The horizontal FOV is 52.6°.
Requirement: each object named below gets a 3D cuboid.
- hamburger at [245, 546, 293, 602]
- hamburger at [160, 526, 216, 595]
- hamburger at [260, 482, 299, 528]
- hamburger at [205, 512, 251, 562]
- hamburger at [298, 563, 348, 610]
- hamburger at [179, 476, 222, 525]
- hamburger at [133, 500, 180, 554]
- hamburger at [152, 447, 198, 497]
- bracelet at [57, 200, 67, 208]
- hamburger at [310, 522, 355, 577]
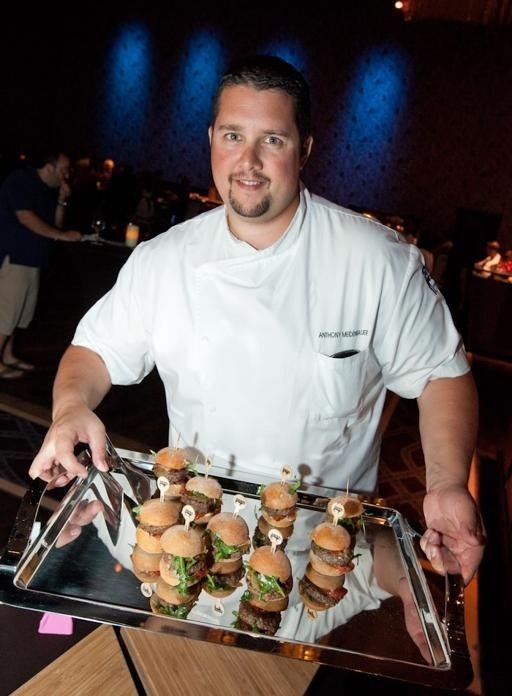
[{"bbox_3d":[0.026,0.555,1.305,0.099,0.100,0.071,48,6,-25],"label":"hamburger"},{"bbox_3d":[-0.195,0.525,1.345,0.157,0.106,0.201,0,5,-11],"label":"hamburger"},{"bbox_3d":[0.074,0.475,1.585,0.115,0.103,0.113,-6,12,-31],"label":"hamburger"},{"bbox_3d":[-0.082,0.504,1.400,0.106,0.075,0.103,6,-3,3],"label":"hamburger"},{"bbox_3d":[0.179,0.632,1.375,0.136,0.062,0.117,1,-3,38],"label":"hamburger"},{"bbox_3d":[-0.157,0.442,1.562,0.135,0.117,0.129,6,-3,6],"label":"hamburger"},{"bbox_3d":[-0.284,0.482,1.445,0.124,0.112,0.119,17,1,-16],"label":"hamburger"},{"bbox_3d":[-0.259,0.394,1.707,0.143,0.122,0.174,7,12,44],"label":"hamburger"},{"bbox_3d":[-2.079,-1.553,5.562,0.086,0.019,0.088,0,-25,-21],"label":"bracelet"},{"bbox_3d":[0.209,0.557,1.454,0.140,0.098,0.121,5,3,-17],"label":"hamburger"}]
